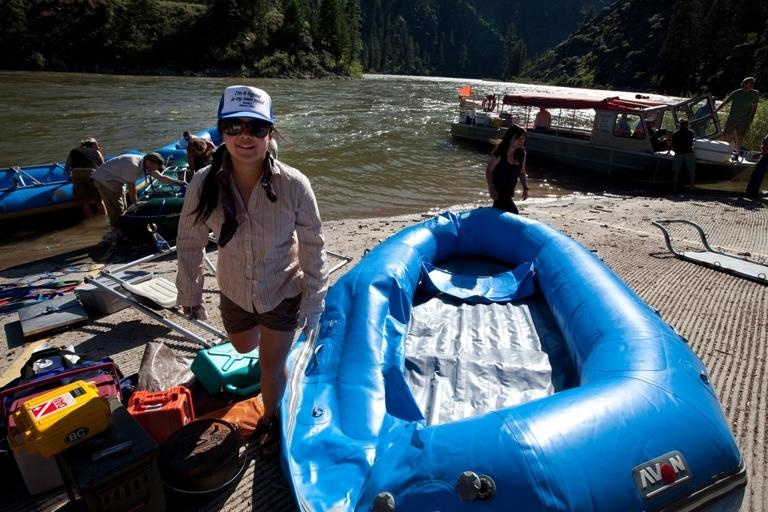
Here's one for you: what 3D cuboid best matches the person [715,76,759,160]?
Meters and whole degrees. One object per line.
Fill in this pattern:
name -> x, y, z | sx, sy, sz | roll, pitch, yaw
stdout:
person -> 8.209, -3.238, 10.897 | 0.619, 1.719, 1.275 | 18, 29, 37

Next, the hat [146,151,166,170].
hat -> -3.552, -1.442, 7.217 | 0.243, 0.280, 0.372 | -13, 26, -29

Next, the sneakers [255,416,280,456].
sneakers -> -0.914, 1.416, 3.672 | 0.126, 0.155, 0.373 | -13, 36, -20

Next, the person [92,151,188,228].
person -> -4.125, -1.053, 7.738 | 1.303, 1.553, 0.637 | 11, 31, -29

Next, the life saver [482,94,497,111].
life saver -> 3.930, -5.749, 17.422 | 0.470, 0.673, 0.257 | 4, 0, 29

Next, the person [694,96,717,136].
person -> 7.741, -3.401, 11.380 | 0.410, 0.948, 0.191 | 14, 27, 31

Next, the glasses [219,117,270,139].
glasses -> -0.945, -0.864, 3.156 | 0.339, 0.132, 0.147 | -6, 23, -15

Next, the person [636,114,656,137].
person -> 6.911, -3.435, 12.279 | 0.705, 0.538, 0.441 | -14, 26, -31

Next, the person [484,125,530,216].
person -> 1.709, -1.219, 6.502 | 0.519, 1.169, 0.418 | 1, 22, 3

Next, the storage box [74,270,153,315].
storage box -> -3.161, 0.475, 5.469 | 0.490, 0.312, 0.663 | 14, 26, 18

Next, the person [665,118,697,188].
person -> 7.035, -2.339, 10.969 | 0.638, 1.655, 0.814 | 14, 26, 30

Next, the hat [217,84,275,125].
hat -> -0.944, -1.047, 3.206 | 0.409, 0.223, 0.395 | 4, 20, -5

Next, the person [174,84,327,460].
person -> -0.952, 0.134, 3.438 | 1.019, 2.587, 0.607 | 8, 24, 19
